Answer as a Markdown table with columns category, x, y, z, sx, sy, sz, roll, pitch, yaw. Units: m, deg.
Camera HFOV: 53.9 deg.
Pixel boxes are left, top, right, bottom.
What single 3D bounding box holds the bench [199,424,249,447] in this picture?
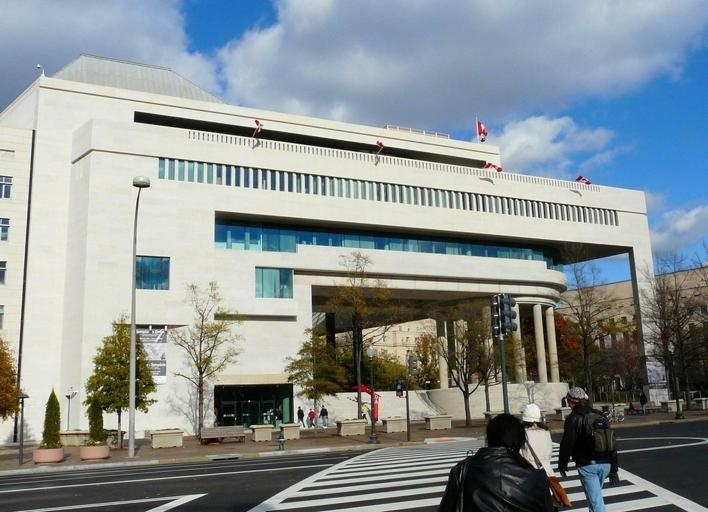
| category | x | y | z | sx | sy | sz | roll | pitch | yaw |
| --- | --- | --- | --- | --- | --- | --- | --- | --- | --- |
| bench | -7.882 | 10.816 | 41.921 | 2.708 | 1.039 | 0.849 | 12 | -1 | -27 |

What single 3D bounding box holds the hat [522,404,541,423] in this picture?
| category | x | y | z | sx | sy | sz | roll | pitch | yaw |
| --- | --- | --- | --- | --- | --- | --- | --- | --- | --- |
| hat | 4.056 | 3.585 | 15.900 | 0.341 | 0.295 | 0.494 | 2 | -3 | 15 |

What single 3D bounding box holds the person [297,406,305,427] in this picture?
| category | x | y | z | sx | sy | sz | roll | pitch | yaw |
| --- | --- | --- | --- | --- | --- | --- | --- | --- | --- |
| person | -4.083 | 12.352 | 53.676 | 0.561 | 1.651 | 1.405 | -3 | -15 | -4 |
